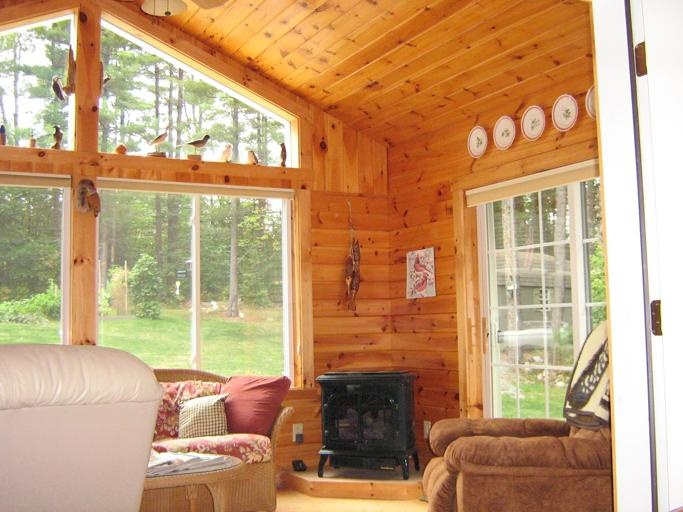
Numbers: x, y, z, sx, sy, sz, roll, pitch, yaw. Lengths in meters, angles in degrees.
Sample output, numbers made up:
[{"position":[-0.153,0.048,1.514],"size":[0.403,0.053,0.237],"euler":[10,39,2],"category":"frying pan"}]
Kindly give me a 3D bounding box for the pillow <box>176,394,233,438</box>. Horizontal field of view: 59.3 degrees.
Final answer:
[{"position":[-0.964,1.107,4.177],"size":[0.409,0.287,0.136],"euler":[-9,-11,14],"category":"pillow"}]

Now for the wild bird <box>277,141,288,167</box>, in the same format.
[{"position":[-0.522,-0.909,5.369],"size":[0.073,0.287,0.210],"euler":[2,-6,-6],"category":"wild bird"}]

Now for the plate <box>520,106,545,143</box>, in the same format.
[{"position":[1.393,-0.963,4.339],"size":[0.035,0.252,0.190],"euler":[5,-7,-33],"category":"plate"}]

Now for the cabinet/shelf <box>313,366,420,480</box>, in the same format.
[{"position":[0.205,1.319,4.724],"size":[0.758,0.831,0.306],"euler":[0,-6,13],"category":"cabinet/shelf"}]

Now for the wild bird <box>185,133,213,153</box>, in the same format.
[{"position":[-1.214,-0.983,5.106],"size":[0.167,0.168,0.293],"euler":[2,-6,-7],"category":"wild bird"}]

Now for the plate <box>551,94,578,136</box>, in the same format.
[{"position":[1.540,-0.984,4.116],"size":[0.049,0.250,0.189],"euler":[5,-7,-29],"category":"plate"}]

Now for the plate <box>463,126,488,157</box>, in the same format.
[{"position":[1.081,-0.906,4.757],"size":[0.048,0.266,0.202],"euler":[4,-7,-27],"category":"plate"}]

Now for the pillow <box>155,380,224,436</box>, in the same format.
[{"position":[-1.158,1.047,4.255],"size":[0.547,0.482,0.153],"euler":[7,-40,-17],"category":"pillow"}]

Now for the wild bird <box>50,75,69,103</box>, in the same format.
[{"position":[-2.231,-1.342,4.749],"size":[0.117,0.214,0.255],"euler":[4,-6,-24],"category":"wild bird"}]

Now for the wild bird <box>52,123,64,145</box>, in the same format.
[{"position":[-2.206,-0.936,4.663],"size":[0.070,0.204,0.164],"euler":[4,-7,-24],"category":"wild bird"}]

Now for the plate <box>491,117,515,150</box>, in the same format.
[{"position":[1.245,-0.935,4.545],"size":[0.030,0.257,0.188],"euler":[6,-8,-37],"category":"plate"}]

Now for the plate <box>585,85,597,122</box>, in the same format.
[{"position":[1.630,-1.013,3.929],"size":[0.045,0.216,0.131],"euler":[-1,-6,17],"category":"plate"}]

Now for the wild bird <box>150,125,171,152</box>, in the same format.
[{"position":[-1.524,-1.026,5.047],"size":[0.161,0.254,0.299],"euler":[3,-6,-16],"category":"wild bird"}]

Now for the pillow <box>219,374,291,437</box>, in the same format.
[{"position":[-0.581,1.085,4.328],"size":[0.476,0.374,0.128],"euler":[8,-25,20],"category":"pillow"}]
